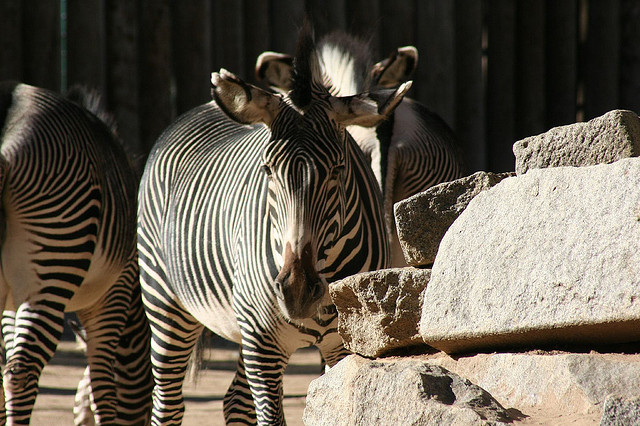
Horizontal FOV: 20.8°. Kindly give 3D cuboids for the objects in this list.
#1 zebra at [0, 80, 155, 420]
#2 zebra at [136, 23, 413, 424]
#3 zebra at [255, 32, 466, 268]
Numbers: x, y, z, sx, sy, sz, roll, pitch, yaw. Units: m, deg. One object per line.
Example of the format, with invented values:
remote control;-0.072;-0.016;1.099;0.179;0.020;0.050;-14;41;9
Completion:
zebra;-2.553;0.431;18.054;1.070;3.332;2.113;-11;-27;18
zebra;-0.591;0.198;17.262;2.801;3.507;1.628;-24;-33;38
zebra;0.045;-0.269;18.896;1.375;2.646;3.845;12;-4;13
